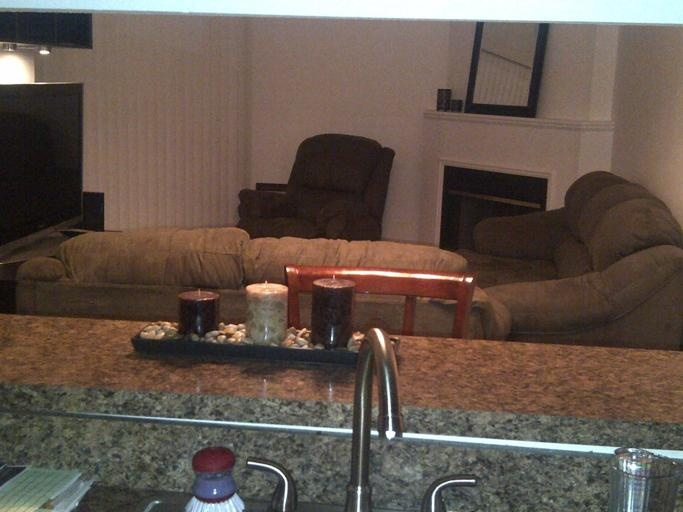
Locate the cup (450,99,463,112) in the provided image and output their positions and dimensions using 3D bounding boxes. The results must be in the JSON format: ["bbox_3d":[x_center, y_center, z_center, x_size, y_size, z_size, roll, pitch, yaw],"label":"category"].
[{"bbox_3d":[0.981,-1.280,5.018,0.114,0.120,0.112,2,11,0],"label":"cup"}]
